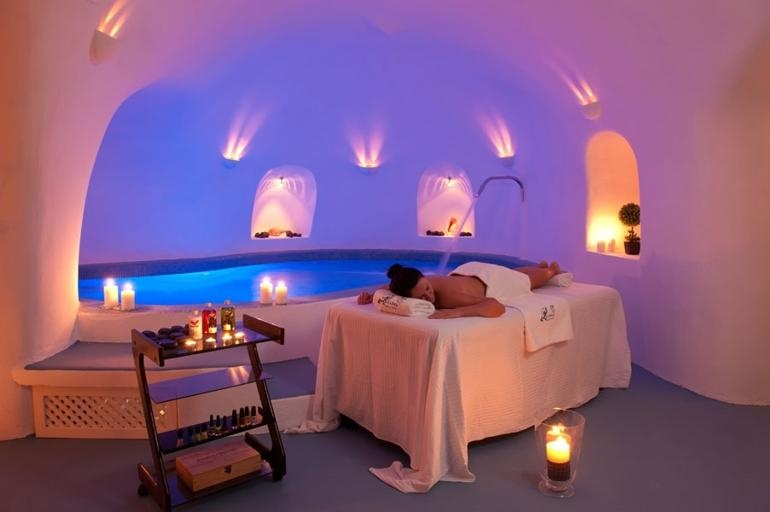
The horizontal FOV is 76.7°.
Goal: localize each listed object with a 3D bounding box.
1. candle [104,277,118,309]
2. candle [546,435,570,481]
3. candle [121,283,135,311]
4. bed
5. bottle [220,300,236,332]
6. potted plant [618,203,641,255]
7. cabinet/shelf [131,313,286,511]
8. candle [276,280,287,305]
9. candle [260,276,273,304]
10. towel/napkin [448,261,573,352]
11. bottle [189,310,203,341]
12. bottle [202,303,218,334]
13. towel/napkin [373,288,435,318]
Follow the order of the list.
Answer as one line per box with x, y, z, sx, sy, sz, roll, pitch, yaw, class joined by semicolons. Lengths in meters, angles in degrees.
-2.014;0.272;3.601;0.101;0.197;0.292;-2;4;-31;candle
0.864;1.048;2.471;0.162;0.210;0.170;-2;1;19;candle
-1.862;0.292;3.547;0.087;0.181;0.259;-2;4;-29;candle
0.627;0.541;3.007;1.456;0.581;0.865;-3;3;-35;bed
-0.814;0.311;2.551;0.061;0.150;0.173;-1;3;-14;bottle
2.066;-0.242;4.119;0.200;0.471;0.203;-4;7;6;potted plant
-0.931;0.794;2.620;0.717;0.937;0.625;-1;4;-28;cabinet/shelf
-0.787;0.272;3.706;0.082;0.153;0.323;0;3;-11;candle
-0.888;0.263;3.664;0.093;0.173;0.261;-1;3;-15;candle
0.760;0.245;3.115;0.391;0.328;0.759;-10;25;-32;towel/napkin
-0.942;0.348;2.468;0.076;0.141;0.074;0;4;0;bottle
-0.894;0.331;2.483;0.074;0.127;0.042;0;4;0;bottle
0.090;0.270;2.791;0.371;0.125;0.155;2;3;23;towel/napkin
